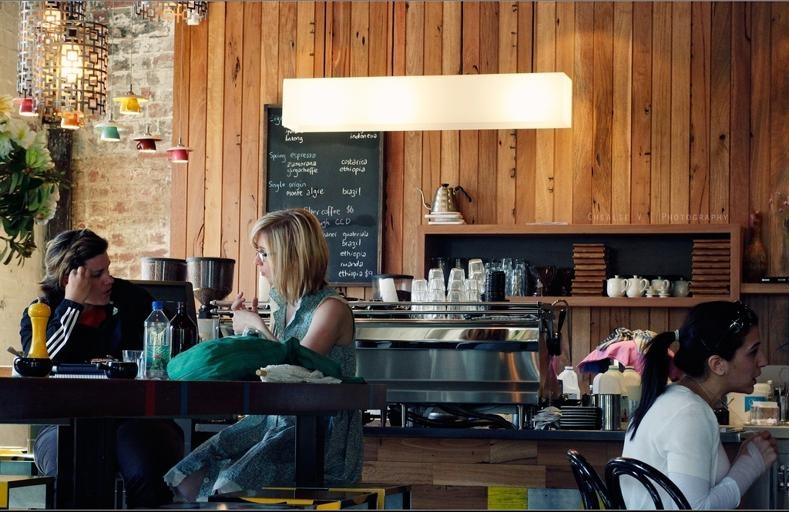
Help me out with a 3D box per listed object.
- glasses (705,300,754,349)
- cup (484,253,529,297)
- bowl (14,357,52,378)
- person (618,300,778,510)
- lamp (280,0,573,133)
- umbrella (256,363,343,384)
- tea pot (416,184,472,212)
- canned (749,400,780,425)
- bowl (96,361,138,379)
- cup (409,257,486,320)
[{"bbox_3d":[1.555,0.355,6.020,0.156,0.081,0.212,-38,-10,37],"label":"glasses"},{"bbox_3d":[0.811,0.138,8.968,0.282,0.345,0.289,0,-3,0],"label":"cup"},{"bbox_3d":[-1.602,0.490,5.714,0.160,0.085,0.209,1,0,-19],"label":"bowl"},{"bbox_3d":[1.400,0.677,5.899,0.702,0.931,0.431,1,0,-25],"label":"person"},{"bbox_3d":[0.198,-1.338,8.090,1.834,0.376,0.328,-1,1,1],"label":"lamp"},{"bbox_3d":[-0.463,0.552,5.941,0.246,0.061,0.152,3,-2,-26],"label":"umbrella"},{"bbox_3d":[0.362,-0.412,9.240,0.292,0.171,0.189,1,-1,2],"label":"tea pot"},{"bbox_3d":[2.185,0.928,7.599,0.131,0.118,0.135,-2,-9,16],"label":"canned"},{"bbox_3d":[-1.222,0.506,5.695,0.121,0.049,0.088,2,-6,-2],"label":"bowl"},{"bbox_3d":[0.289,0.187,7.202,0.410,0.325,0.550,0,0,3],"label":"cup"}]
